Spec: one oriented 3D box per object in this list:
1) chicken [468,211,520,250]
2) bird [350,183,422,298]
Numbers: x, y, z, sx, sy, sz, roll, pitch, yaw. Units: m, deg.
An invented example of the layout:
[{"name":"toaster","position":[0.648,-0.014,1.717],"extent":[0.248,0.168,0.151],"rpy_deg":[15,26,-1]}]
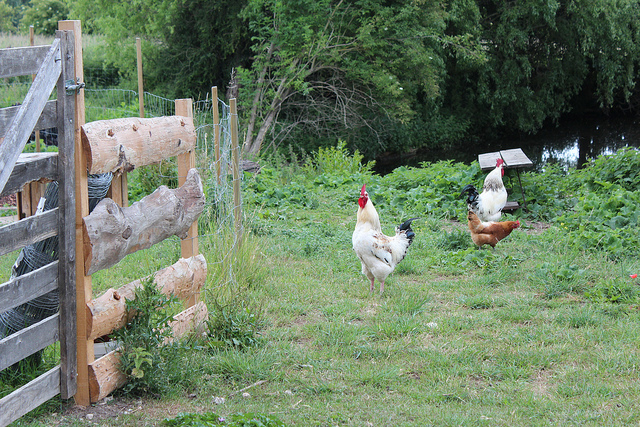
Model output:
[{"name":"chicken","position":[3.059,0.323,12.197],"extent":[0.808,0.709,0.280],"rpy_deg":[2,9,9]},{"name":"bird","position":[1.024,0.422,11.070],"extent":[0.986,1.727,0.580],"rpy_deg":[-7,11,-38]}]
